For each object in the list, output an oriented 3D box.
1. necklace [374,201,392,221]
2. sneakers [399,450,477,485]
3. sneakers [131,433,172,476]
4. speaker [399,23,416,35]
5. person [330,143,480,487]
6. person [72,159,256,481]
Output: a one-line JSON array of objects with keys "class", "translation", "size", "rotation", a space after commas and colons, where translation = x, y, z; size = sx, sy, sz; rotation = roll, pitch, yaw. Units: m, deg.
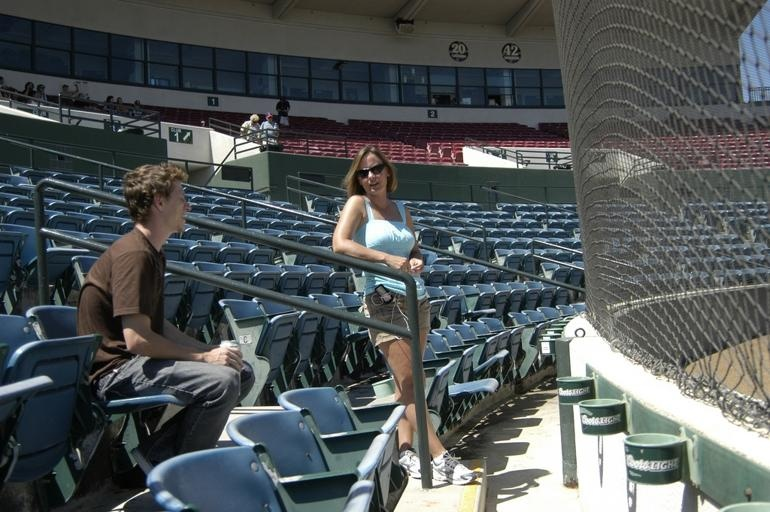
[{"class": "necklace", "translation": [-0.021, -0.230, 4.137], "size": [0.094, 0.094, 0.049], "rotation": [-4, -25, -32]}, {"class": "sneakers", "translation": [0.281, 1.066, 4.028], "size": [0.428, 0.183, 0.157], "rotation": [6, 3, 4]}, {"class": "sneakers", "translation": [-1.050, 0.889, 3.412], "size": [0.080, 0.080, 0.163], "rotation": [2, 4, -45]}, {"class": "speaker", "translation": [0.649, -6.936, 24.025], "size": [0.512, 0.299, 0.234], "rotation": [-7, 10, 2]}, {"class": "person", "translation": [0.063, 0.278, 4.074], "size": [0.836, 1.179, 0.505], "rotation": [6, 3, 27]}, {"class": "person", "translation": [-1.016, 0.230, 3.628], "size": [0.813, 1.323, 0.549], "rotation": [4, 2, -12]}]
